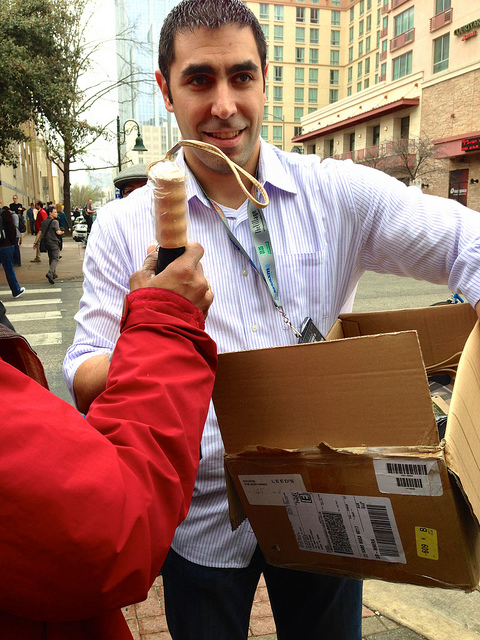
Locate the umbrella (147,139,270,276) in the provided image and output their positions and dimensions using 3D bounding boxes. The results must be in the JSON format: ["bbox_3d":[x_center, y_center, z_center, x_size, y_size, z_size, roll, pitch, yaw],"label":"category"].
[{"bbox_3d":[-0.084,-0.252,1.129,0.232,0.266,0.147,14,42,7],"label":"umbrella"}]

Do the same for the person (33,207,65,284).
[{"bbox_3d":[-5.472,-2.120,15.136,0.993,2.063,0.977,-4,14,-21],"label":"person"}]

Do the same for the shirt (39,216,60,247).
[{"bbox_3d":[-5.377,-2.458,15.037,0.477,0.772,0.457,-10,16,-21],"label":"shirt"}]
